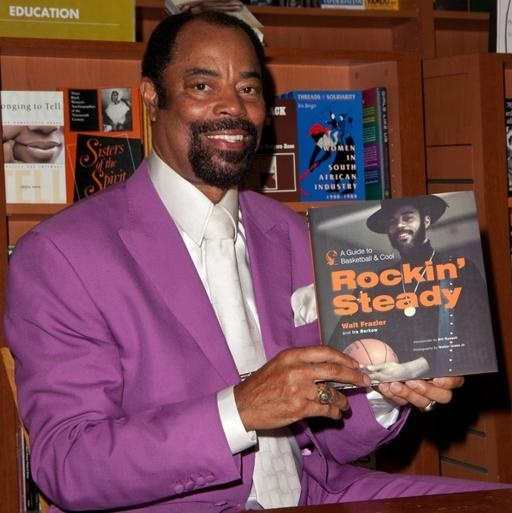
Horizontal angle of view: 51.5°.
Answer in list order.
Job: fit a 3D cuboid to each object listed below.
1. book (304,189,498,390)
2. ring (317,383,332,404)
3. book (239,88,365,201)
[{"bbox_3d":[0.274,0.058,0.953,0.398,0.353,0.087,-6,-1,5],"label":"book"},{"bbox_3d":[0.124,0.246,0.948,0.028,0.032,0.016,-5,7,-7],"label":"ring"},{"bbox_3d":[0.227,-0.397,1.922,0.488,0.391,0.103,-3,-1,-7],"label":"book"}]
